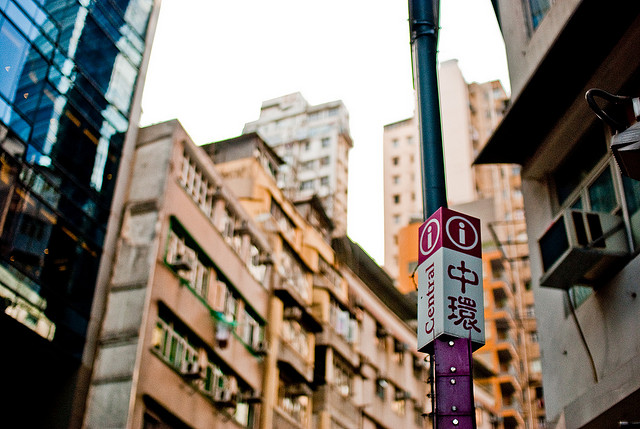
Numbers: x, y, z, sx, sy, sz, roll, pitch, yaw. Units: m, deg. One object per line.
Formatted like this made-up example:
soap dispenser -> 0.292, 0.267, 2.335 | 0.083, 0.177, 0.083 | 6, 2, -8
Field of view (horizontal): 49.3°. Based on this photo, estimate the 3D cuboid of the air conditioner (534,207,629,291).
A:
air conditioner -> 7.465, 0.964, 20.300 | 1.624, 1.389, 2.479 | 1, -27, 1

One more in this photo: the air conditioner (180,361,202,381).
air conditioner -> -6.270, 7.380, 33.711 | 0.934, 1.082, 0.775 | -8, -38, 4
